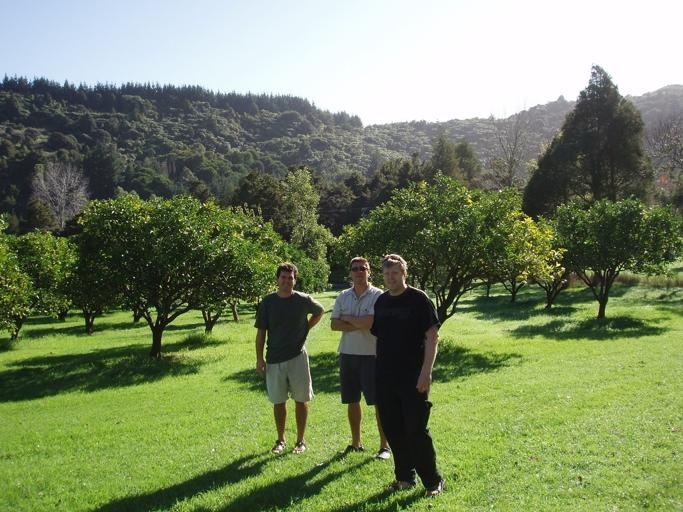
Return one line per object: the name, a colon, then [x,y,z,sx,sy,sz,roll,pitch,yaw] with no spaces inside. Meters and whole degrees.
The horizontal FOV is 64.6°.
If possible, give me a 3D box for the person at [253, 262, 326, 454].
person: [-1.138,2.121,11.281,1.262,3.957,0.471,0,-1,-5]
